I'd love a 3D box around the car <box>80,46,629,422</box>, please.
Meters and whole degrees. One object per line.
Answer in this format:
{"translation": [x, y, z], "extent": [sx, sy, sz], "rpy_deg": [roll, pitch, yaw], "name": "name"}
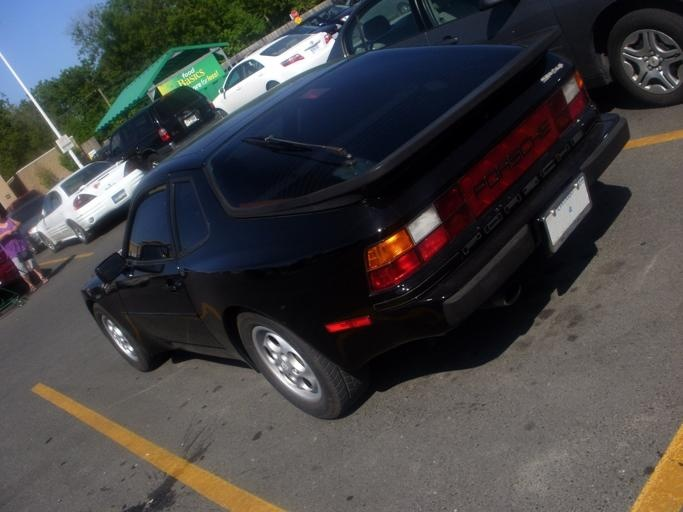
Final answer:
{"translation": [-0.022, -0.261, 3.540], "extent": [3.923, 2.080, 1.916], "rpy_deg": [-20, 24, 32], "name": "car"}
